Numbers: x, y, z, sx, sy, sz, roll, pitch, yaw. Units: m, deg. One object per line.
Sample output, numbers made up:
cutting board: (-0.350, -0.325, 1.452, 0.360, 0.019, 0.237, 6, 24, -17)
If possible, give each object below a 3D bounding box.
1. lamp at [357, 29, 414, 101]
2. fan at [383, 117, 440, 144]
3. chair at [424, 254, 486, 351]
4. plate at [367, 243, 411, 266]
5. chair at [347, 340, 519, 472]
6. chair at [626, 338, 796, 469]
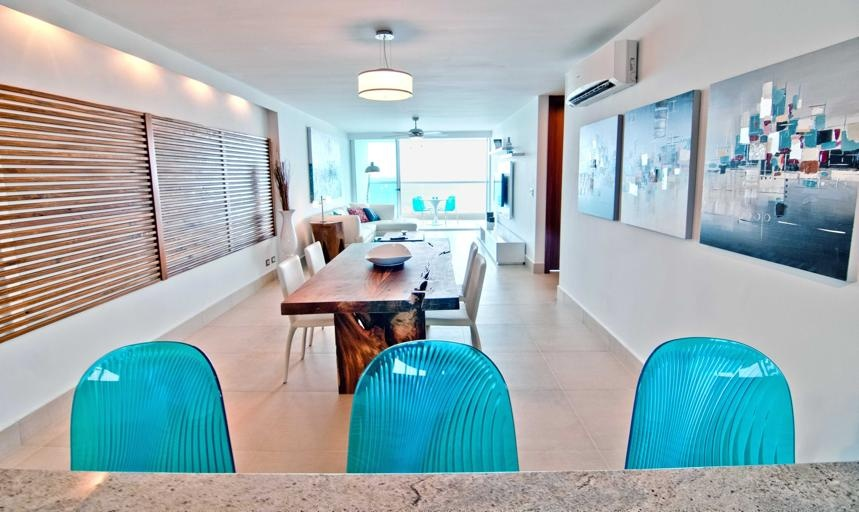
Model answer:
lamp: (-0.400, -1.849, 5.109, 0.578, 0.534, 0.535, -1, 9, 0)
fan: (-0.310, -2.672, 10.896, 1.123, 0.380, 2.875, 1, 12, 1)
chair: (0.213, 0.370, 4.749, 0.626, 0.888, 0.554, 3, 27, 0)
plate: (-0.350, -0.017, 4.658, 0.266, 0.066, 0.262, -1, 21, -1)
chair: (-0.007, 0.696, 2.835, 0.847, 0.898, 0.697, 0, 10, 1)
chair: (1.389, 0.766, 2.854, 0.787, 0.898, 0.740, -1, 9, 10)
